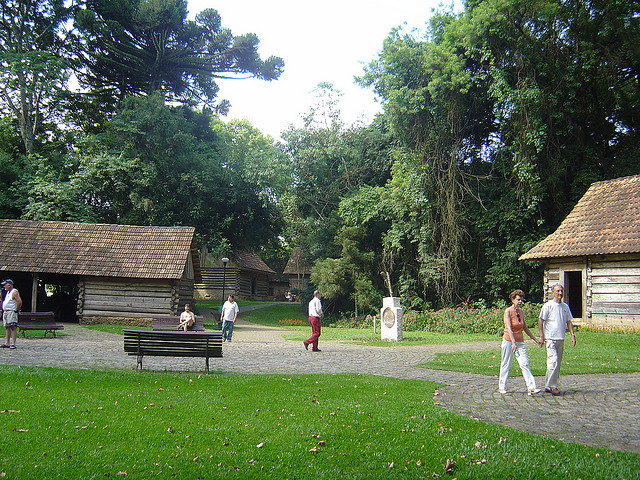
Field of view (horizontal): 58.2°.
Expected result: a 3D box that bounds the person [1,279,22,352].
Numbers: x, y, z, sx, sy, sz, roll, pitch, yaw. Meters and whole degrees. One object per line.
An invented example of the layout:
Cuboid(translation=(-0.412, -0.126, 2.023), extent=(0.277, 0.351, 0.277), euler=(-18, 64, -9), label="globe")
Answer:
Cuboid(translation=(-10.506, 2.526, 19.652), extent=(0.577, 2.377, 1.219), euler=(0, 5, -30), label="person")
